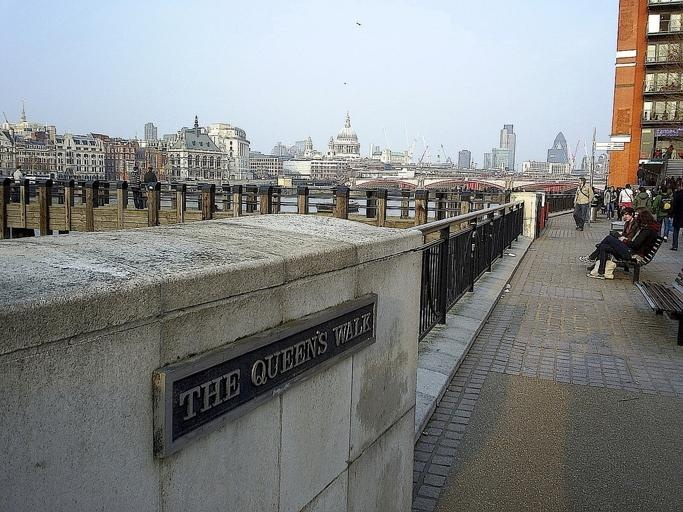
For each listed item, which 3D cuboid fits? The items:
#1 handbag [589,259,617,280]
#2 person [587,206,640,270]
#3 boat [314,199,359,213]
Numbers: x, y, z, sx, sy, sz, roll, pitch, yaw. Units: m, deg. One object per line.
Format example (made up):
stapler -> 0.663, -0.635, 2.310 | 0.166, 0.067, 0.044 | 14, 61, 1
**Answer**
handbag -> 6.192, 0.311, 12.093 | 0.277, 0.391, 0.877 | 2, 7, 1
person -> 6.503, -0.300, 11.706 | 1.268, 1.736, 0.756 | 9, 2, 30
boat -> -0.285, -2.316, 24.373 | 1.702, 0.709, 1.060 | 0, 9, 8
